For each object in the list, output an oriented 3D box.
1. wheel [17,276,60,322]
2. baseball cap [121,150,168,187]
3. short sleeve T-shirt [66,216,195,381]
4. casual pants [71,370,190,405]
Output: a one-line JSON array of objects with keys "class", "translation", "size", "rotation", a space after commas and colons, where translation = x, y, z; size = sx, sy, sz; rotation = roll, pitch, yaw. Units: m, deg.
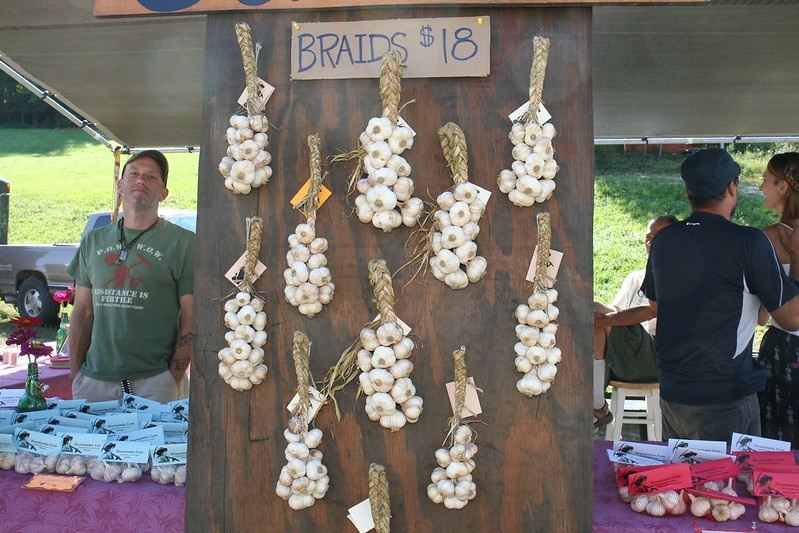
[{"class": "wheel", "translation": [-4.124, 0.361, 9.879], "size": [0.445, 0.439, 0.159], "rotation": [-22, -5, 18]}, {"class": "baseball cap", "translation": [-1.494, -0.581, 5.255], "size": [0.109, 0.202, 0.181], "rotation": [18, -13, 34]}, {"class": "short sleeve T-shirt", "translation": [-1.568, 0.195, 5.069], "size": [0.688, 0.941, 0.254], "rotation": [1, -3, -8]}, {"class": "casual pants", "translation": [-1.581, 0.726, 4.990], "size": [0.446, 0.157, 0.247], "rotation": [0, -11, -5]}]
